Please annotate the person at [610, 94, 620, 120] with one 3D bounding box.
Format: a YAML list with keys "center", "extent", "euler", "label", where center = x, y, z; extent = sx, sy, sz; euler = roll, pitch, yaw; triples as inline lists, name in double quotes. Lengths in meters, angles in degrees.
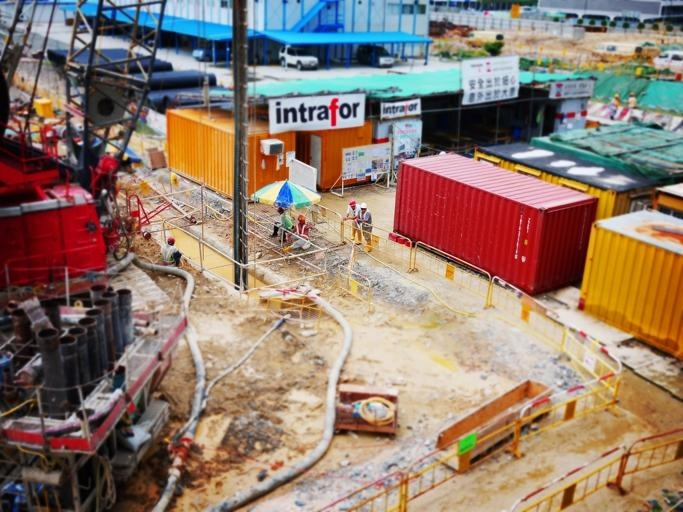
- center: [18.443, -10.056, 41.897]
  extent: [0.648, 1.519, 2.439]
  euler: [8, 18, 22]
  label: "person"

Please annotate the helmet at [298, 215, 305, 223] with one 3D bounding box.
- center: [-1.458, -1.345, 22.683]
  extent: [0.214, 0.225, 0.266]
  euler: [-1, 13, -2]
  label: "helmet"

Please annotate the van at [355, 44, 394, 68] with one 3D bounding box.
- center: [2.935, -17.219, 53.663]
  extent: [2.230, 1.532, 3.057]
  euler: [-17, 33, -28]
  label: "van"

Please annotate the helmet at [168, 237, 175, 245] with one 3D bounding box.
- center: [-5.865, -0.524, 21.504]
  extent: [0.243, 0.250, 0.240]
  euler: [-2, 2, -37]
  label: "helmet"

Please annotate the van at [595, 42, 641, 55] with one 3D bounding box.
- center: [23.353, -17.469, 52.371]
  extent: [1.952, 1.020, 4.326]
  euler: [-5, 19, -21]
  label: "van"

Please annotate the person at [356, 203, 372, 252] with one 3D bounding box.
- center: [0.900, -1.140, 23.356]
  extent: [0.723, 1.752, 0.687]
  euler: [10, 19, 27]
  label: "person"

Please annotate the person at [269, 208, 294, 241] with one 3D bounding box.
- center: [-2.244, -1.227, 23.546]
  extent: [0.927, 1.268, 0.519]
  euler: [10, 24, 6]
  label: "person"

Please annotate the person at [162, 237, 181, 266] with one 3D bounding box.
- center: [-5.749, -0.148, 21.341]
  extent: [0.616, 0.940, 0.417]
  euler: [0, 4, 34]
  label: "person"

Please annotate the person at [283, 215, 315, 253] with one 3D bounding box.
- center: [-1.571, -0.835, 22.800]
  extent: [0.968, 1.322, 1.098]
  euler: [0, 17, -5]
  label: "person"

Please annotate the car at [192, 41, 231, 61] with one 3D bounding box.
- center: [-10.792, -17.102, 51.867]
  extent: [2.975, 1.684, 4.211]
  euler: [-3, 18, -13]
  label: "car"

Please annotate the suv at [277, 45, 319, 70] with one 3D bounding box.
- center: [-3.362, -15.936, 50.844]
  extent: [1.876, 1.480, 3.370]
  euler: [-23, 39, -31]
  label: "suv"
